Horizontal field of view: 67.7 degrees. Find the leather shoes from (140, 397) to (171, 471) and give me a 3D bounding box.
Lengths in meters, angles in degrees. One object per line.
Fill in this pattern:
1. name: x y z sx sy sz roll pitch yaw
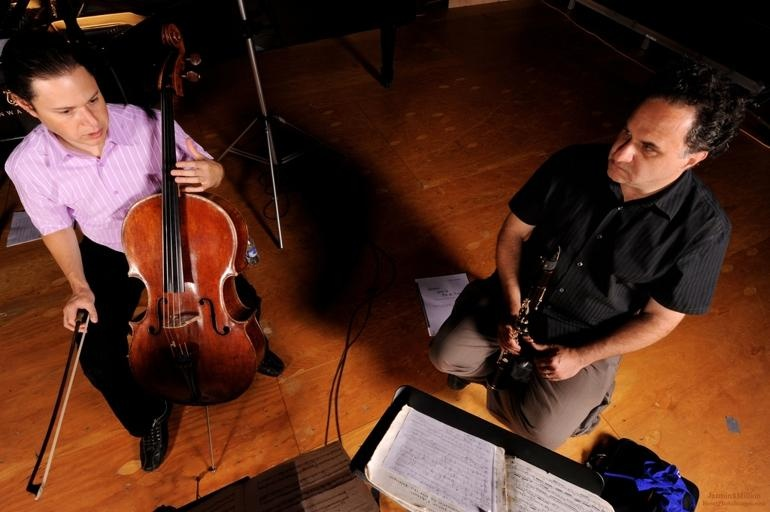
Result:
1. leather shoes: -1.342 1.048 3.432 0.161 0.421 0.173 0 2 2
